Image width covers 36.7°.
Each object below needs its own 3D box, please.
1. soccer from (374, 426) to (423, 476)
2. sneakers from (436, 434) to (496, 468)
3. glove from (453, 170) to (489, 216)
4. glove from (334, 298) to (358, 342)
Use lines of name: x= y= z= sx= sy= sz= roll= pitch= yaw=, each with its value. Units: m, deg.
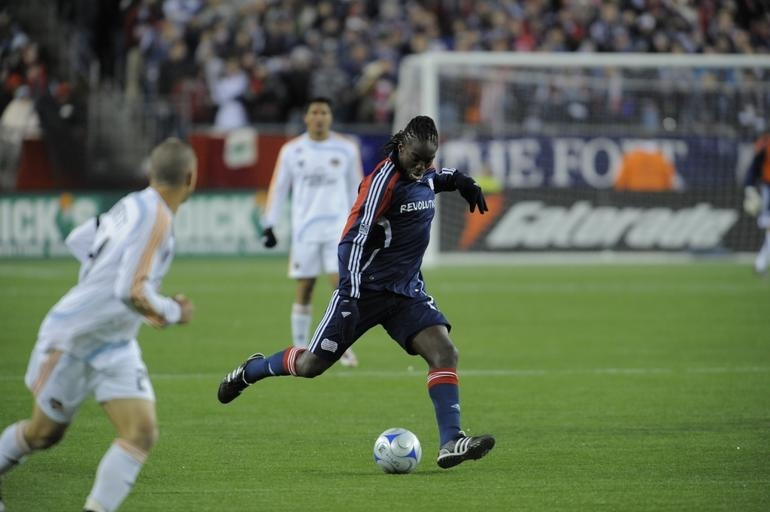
soccer: x=0.080 y=1.694 z=10.037 sx=0.384 sy=0.356 sz=0.377 roll=-21 pitch=-16 yaw=-21
sneakers: x=0.678 y=1.657 z=9.923 sx=0.465 sy=0.283 sz=0.167 roll=0 pitch=15 yaw=4
glove: x=0.732 y=-0.590 z=10.501 sx=0.211 sy=0.140 sz=0.467 roll=-22 pitch=55 yaw=-28
glove: x=-0.330 y=0.557 z=10.072 sx=0.185 sy=0.425 sz=0.168 roll=-1 pitch=15 yaw=2
